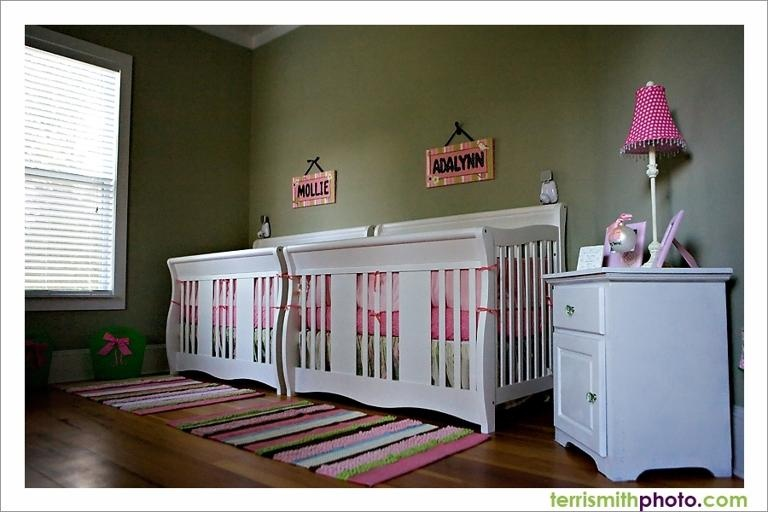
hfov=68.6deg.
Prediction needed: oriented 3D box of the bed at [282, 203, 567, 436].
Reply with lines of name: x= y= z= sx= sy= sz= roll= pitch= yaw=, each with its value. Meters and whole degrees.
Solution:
bed: x=0.286 y=0.384 z=3.439 sx=1.778 sy=1.279 sz=1.172 roll=-5 pitch=-8 yaw=38

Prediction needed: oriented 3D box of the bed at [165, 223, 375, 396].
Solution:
bed: x=-0.854 y=0.289 z=4.021 sx=1.151 sy=0.844 sz=1.327 roll=0 pitch=1 yaw=-42

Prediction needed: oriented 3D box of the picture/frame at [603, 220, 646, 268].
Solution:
picture/frame: x=1.158 y=-0.050 z=2.705 sx=0.023 sy=0.299 sz=0.226 roll=-9 pitch=11 yaw=-41

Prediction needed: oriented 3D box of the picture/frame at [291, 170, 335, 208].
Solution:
picture/frame: x=-0.552 y=-0.524 z=4.496 sx=0.460 sy=0.266 sz=0.047 roll=-2 pitch=3 yaw=36

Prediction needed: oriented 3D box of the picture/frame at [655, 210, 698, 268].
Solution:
picture/frame: x=1.421 y=-0.076 z=2.719 sx=0.151 sy=0.245 sz=0.247 roll=6 pitch=-10 yaw=13

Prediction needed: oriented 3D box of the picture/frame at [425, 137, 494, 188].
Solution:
picture/frame: x=0.518 y=-0.611 z=3.711 sx=0.382 sy=0.209 sz=0.039 roll=-4 pitch=-8 yaw=42

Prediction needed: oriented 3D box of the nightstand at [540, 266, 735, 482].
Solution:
nightstand: x=1.138 y=0.489 z=2.620 sx=0.605 sy=0.815 sz=0.653 roll=1 pitch=-4 yaw=-6
